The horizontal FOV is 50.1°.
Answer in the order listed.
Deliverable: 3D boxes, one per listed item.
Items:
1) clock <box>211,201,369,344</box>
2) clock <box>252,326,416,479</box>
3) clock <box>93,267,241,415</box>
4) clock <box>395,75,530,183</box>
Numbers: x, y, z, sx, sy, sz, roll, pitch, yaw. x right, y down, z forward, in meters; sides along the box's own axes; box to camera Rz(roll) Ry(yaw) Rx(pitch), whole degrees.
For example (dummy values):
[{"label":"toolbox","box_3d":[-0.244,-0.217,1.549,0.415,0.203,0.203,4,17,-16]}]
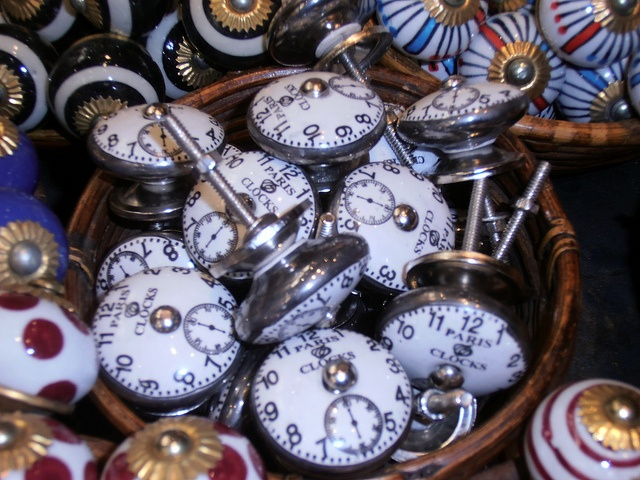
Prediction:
[{"label":"clock","box_3d":[-0.046,0.060,1.483,0.195,0.285,0.282,42,12,8]},{"label":"clock","box_3d":[0.023,0.312,1.384,0.325,0.128,0.274,10,47,9]},{"label":"clock","box_3d":[-0.322,0.213,1.513,0.270,0.172,0.297,32,70,6]},{"label":"clock","box_3d":[0.342,-0.264,1.626,0.242,0.193,0.252,-31,23,-12]}]
